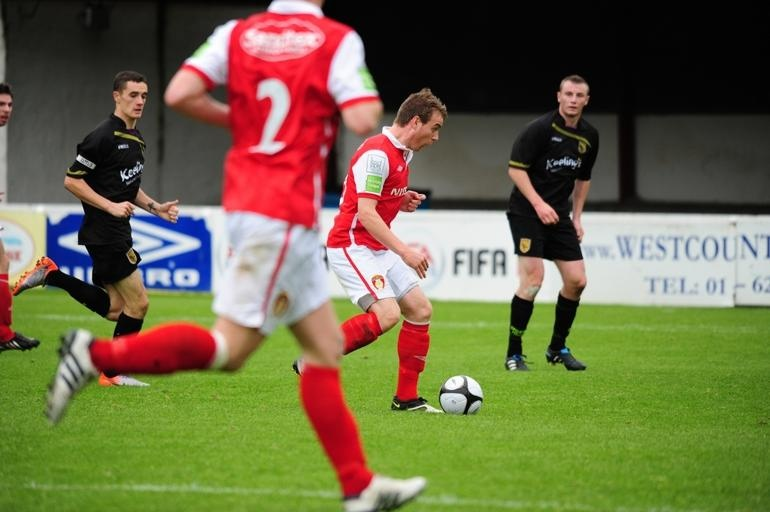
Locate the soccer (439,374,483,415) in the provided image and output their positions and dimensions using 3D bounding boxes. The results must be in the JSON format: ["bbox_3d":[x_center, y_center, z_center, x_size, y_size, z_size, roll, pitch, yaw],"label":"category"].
[{"bbox_3d":[0.649,1.182,8.210,0.355,0.292,0.200,1,10,3],"label":"soccer"}]

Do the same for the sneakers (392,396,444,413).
[{"bbox_3d":[0.291,1.258,8.270,0.419,0.144,0.167,1,-3,-4],"label":"sneakers"}]

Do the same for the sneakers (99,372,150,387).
[{"bbox_3d":[-2.409,1.128,8.913,0.472,0.196,0.176,0,1,-3],"label":"sneakers"}]

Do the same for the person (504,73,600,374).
[{"bbox_3d":[1.685,-0.322,9.729,0.979,2.958,0.766,-1,10,-7],"label":"person"}]

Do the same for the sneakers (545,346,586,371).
[{"bbox_3d":[1.813,1.035,9.702,0.427,0.221,0.162,19,17,24],"label":"sneakers"}]

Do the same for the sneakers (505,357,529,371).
[{"bbox_3d":[1.331,1.071,9.625,0.233,0.125,0.238,1,10,1],"label":"sneakers"}]
